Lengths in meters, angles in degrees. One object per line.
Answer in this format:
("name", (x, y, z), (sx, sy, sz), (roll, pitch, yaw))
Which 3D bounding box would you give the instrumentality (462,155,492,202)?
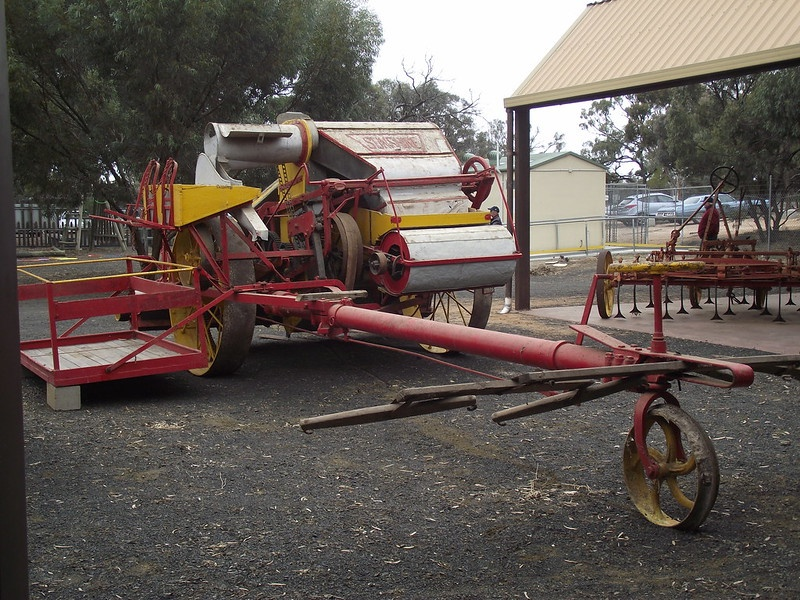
("instrumentality", (0.993, -1.506, 8.367), (0.318, 0.497, 0.344), (-13, 32, 21))

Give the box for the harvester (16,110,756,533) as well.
("harvester", (-0.215, -0.320, 6.317), (4.351, 1.898, 5.775), (-4, 9, -36))

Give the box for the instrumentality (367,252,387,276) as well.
("instrumentality", (-0.249, -0.395, 7.439), (0.177, 0.250, 0.289), (0, 8, -30))

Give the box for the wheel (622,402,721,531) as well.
("wheel", (1.547, 0.995, 3.970), (0.228, 0.652, 0.753), (4, 5, -14))

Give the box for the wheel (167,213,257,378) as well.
("wheel", (-2.054, -0.062, 7.362), (0.424, 1.845, 1.881), (-4, 13, -39))

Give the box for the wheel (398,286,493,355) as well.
("wheel", (0.456, 0.199, 6.996), (0.346, 0.836, 1.081), (5, -5, -39))

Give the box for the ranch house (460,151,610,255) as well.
("ranch house", (5.410, -4.571, 29.900), (4.629, 4.334, 5.403), (-7, 17, -27))
